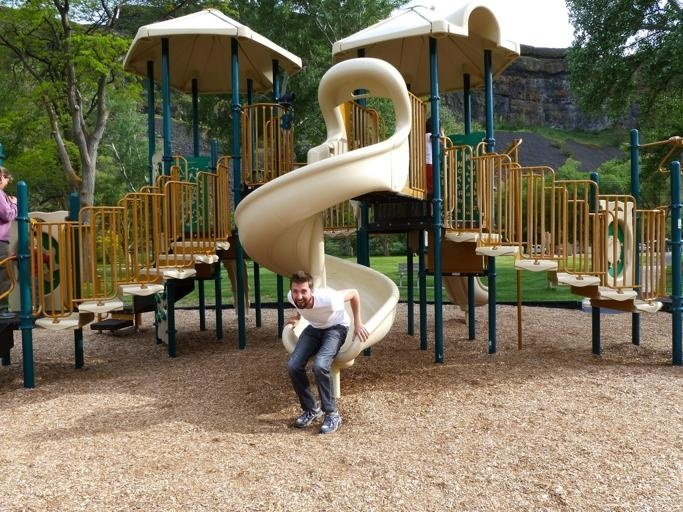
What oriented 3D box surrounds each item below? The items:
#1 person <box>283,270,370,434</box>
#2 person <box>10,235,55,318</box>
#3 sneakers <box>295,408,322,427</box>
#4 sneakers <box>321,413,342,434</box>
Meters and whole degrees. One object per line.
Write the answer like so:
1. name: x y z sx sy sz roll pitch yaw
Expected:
1. person: -0.270 1.367 12.523 1.183 2.313 0.863 -1 2 -19
2. person: -4.984 0.279 13.946 0.235 1.252 0.961 0 -1 -44
3. sneakers: -0.508 2.341 12.402 0.478 0.244 0.170 -20 10 -41
4. sneakers: -0.132 2.394 12.244 0.435 0.273 0.184 -2 2 -45
